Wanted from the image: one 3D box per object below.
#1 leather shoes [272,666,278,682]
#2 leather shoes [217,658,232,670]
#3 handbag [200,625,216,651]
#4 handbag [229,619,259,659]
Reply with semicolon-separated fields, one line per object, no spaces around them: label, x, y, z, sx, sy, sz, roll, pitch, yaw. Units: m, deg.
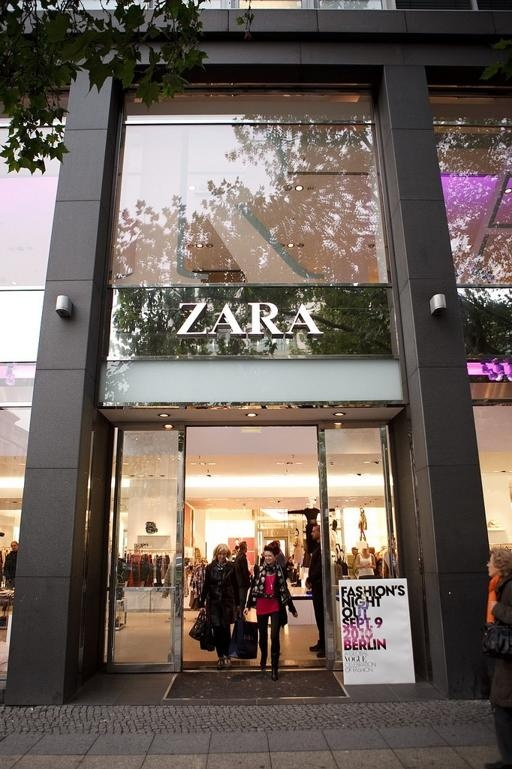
leather shoes;0.211;3.296;5.722;0.057;0.137;0.180;0;-9;4
leather shoes;-0.415;3.566;6.427;0.186;0.106;0.180;-3;-15;4
handbag;-0.617;3.246;6.426;0.192;0.352;0.270;0;-14;-5
handbag;-0.158;3.254;6.367;0.357;0.480;0.238;-1;-14;-4
